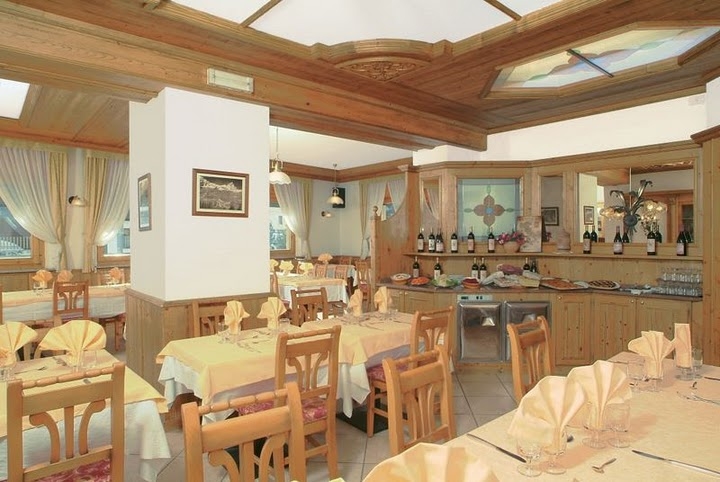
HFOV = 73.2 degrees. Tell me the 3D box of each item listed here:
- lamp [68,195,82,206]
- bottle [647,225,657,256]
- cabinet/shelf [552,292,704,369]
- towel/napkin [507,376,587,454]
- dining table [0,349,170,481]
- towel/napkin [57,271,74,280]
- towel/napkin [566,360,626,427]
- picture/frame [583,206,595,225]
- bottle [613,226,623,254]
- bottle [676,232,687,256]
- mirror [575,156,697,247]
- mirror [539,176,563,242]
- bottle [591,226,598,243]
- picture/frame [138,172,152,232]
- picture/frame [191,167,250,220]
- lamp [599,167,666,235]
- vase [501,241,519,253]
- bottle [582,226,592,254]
[{"bbox_3d":[-5.096,-0.746,8.653,0.205,0.187,0.399,-2,1,-34],"label":"lamp"},{"bbox_3d":[3.694,0.010,6.121,0.099,0.309,0.179,-1,1,33],"label":"bottle"},{"bbox_3d":[3.473,1.035,6.242,1.079,1.173,1.855,7,-8,-44],"label":"cabinet/shelf"},{"bbox_3d":[1.061,0.962,2.778,0.455,0.436,0.177,-2,10,-12],"label":"towel/napkin"},{"bbox_3d":[-1.911,1.174,3.588,1.137,0.525,1.106,7,-11,-41],"label":"dining table"},{"bbox_3d":[-4.548,0.513,7.449,0.025,0.185,0.195,-6,-6,44],"label":"towel/napkin"},{"bbox_3d":[1.426,0.928,2.917,0.436,0.453,0.170,2,7,8],"label":"towel/napkin"},{"bbox_3d":[3.213,-0.365,6.756,0.221,0.277,0.082,-2,1,-34],"label":"picture/frame"},{"bbox_3d":[3.417,-0.019,6.414,0.117,0.358,0.310,-1,1,28],"label":"bottle"},{"bbox_3d":[3.893,0.015,5.852,0.112,0.289,0.097,-1,1,20],"label":"bottle"},{"bbox_3d":[3.902,-0.600,6.843,0.707,1.149,1.291,1,-1,-44],"label":"mirror"},{"bbox_3d":[2.810,-0.489,7.040,0.314,0.933,0.321,-1,1,32],"label":"mirror"},{"bbox_3d":[3.235,-0.123,6.683,0.079,0.225,0.146,-1,1,25],"label":"bottle"},{"bbox_3d":[-2.359,-0.447,5.305,0.056,0.706,0.664,3,-4,-35],"label":"picture/frame"},{"bbox_3d":[-1.526,-0.525,5.183,0.628,0.493,0.059,1,-2,-32],"label":"picture/frame"},{"bbox_3d":[3.661,-0.494,6.519,0.761,0.799,0.746,9,-9,-38],"label":"lamp"},{"bbox_3d":[2.149,0.070,6.889,0.180,0.125,0.179,-2,2,-17],"label":"vase"},{"bbox_3d":[3.105,-0.017,6.630,0.115,0.336,0.199,-1,1,29],"label":"bottle"}]
